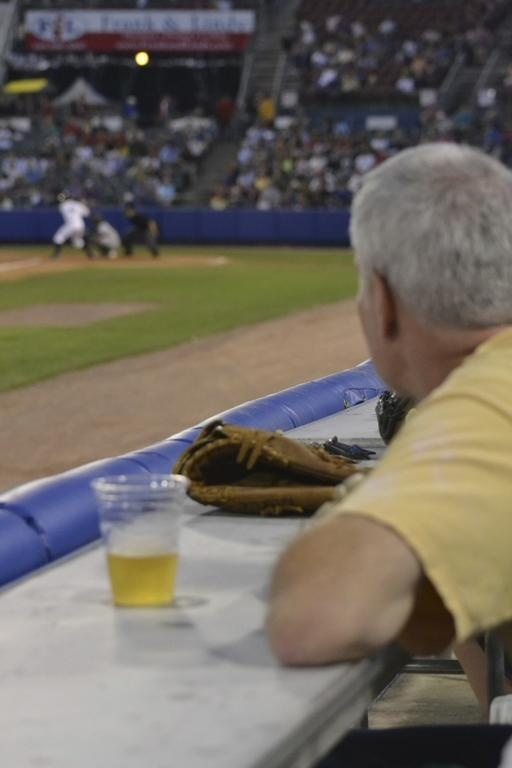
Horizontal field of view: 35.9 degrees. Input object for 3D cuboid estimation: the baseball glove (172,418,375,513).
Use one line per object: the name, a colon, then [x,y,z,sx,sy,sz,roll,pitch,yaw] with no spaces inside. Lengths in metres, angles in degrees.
baseball glove: [0.018,0.094,1.059,0.222,0.049,0.146,8,10,9]
